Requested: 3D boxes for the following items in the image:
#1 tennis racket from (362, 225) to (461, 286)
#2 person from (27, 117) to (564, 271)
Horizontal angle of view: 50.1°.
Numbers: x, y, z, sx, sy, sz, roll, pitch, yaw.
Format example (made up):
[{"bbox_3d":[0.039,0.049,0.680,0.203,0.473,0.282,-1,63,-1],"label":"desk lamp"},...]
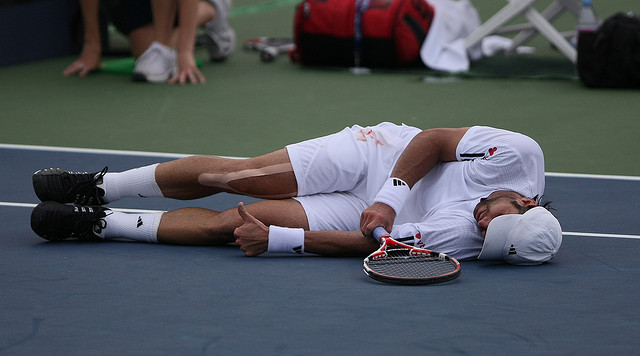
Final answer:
[{"bbox_3d":[0.708,0.615,5.291,0.720,0.344,0.413,3,21,4],"label":"tennis racket"},{"bbox_3d":[-0.522,0.484,5.921,4.672,1.111,1.455,-5,45,-2],"label":"person"}]
